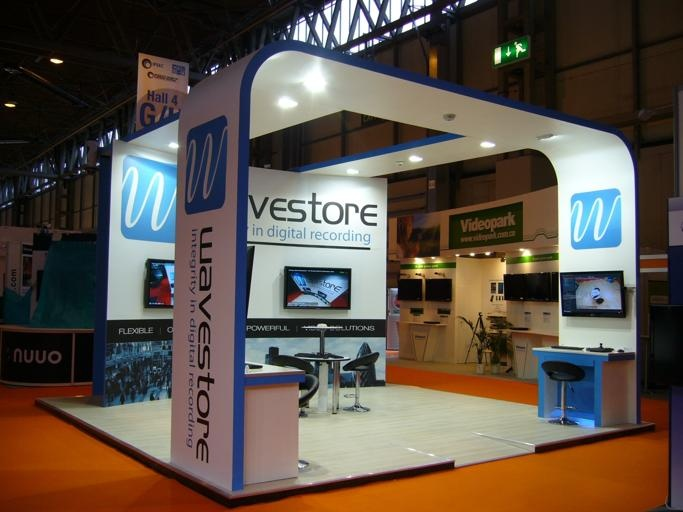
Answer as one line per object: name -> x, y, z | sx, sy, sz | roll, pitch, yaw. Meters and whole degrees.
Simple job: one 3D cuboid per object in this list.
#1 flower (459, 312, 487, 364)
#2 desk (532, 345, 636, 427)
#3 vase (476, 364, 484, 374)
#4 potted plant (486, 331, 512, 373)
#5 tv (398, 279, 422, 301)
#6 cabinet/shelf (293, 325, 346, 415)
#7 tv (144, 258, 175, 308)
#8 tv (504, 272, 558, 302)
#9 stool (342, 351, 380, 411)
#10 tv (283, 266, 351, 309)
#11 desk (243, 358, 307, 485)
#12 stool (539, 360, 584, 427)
flower -> 2.938, 1.862, 12.147 | 0.566, 1.190, 1.514 | 0, -2, 13
desk -> 3.126, 1.697, 7.268 | 1.051, 0.956, 0.586 | -1, -7, 43
vase -> 2.848, 2.304, 11.270 | 0.174, 0.213, 0.183 | 2, -7, -10
potted plant -> 3.299, 1.900, 11.398 | 0.696, 1.043, 0.847 | -1, -1, 19
tv -> 1.703, 0.811, 13.333 | 0.219, 0.536, 0.768 | 2, -3, -34
cabinet/shelf -> -0.275, 1.557, 7.698 | 0.723, 1.158, 0.686 | -2, -5, 30
tv -> -2.575, 0.380, 7.671 | 0.080, 0.664, 0.620 | -5, -7, 41
tv -> 3.616, 0.577, 10.334 | 0.340, 0.557, 1.395 | 2, -2, -15
stool -> 0.265, 1.766, 7.758 | 0.493, 0.847, 0.526 | 0, -4, 32
tv -> -0.368, 0.501, 8.694 | 1.062, 0.645, 0.140 | 1, -2, -10
desk -> -0.610, 1.348, 5.134 | 0.683, 1.128, 1.105 | 1, -4, -22
stool -> 2.859, 1.732, 7.114 | 0.462, 0.802, 0.668 | 0, -2, 13
